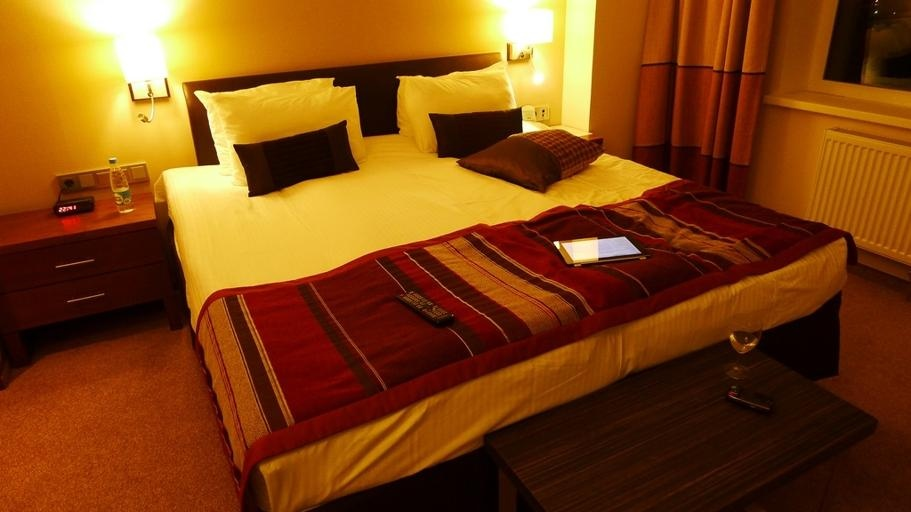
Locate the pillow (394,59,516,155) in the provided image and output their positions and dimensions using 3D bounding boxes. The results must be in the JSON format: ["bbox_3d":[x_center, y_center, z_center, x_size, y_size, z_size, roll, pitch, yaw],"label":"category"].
[{"bbox_3d":[-0.033,-1.138,4.397,0.908,0.604,0.301,-12,3,-12],"label":"pillow"}]

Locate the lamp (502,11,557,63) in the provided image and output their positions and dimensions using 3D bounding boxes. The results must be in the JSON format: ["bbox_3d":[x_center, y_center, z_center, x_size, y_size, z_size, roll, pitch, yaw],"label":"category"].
[{"bbox_3d":[0.616,-1.898,4.913,0.476,0.471,0.396,-16,37,-18],"label":"lamp"}]

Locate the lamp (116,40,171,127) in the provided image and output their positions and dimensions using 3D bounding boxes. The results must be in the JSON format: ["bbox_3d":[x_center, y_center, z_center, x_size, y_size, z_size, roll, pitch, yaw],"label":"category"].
[{"bbox_3d":[-2.259,-1.287,4.118,0.351,0.528,0.358,10,21,44],"label":"lamp"}]

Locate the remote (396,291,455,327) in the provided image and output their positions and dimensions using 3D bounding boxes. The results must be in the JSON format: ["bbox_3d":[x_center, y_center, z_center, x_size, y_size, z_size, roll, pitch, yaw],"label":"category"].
[{"bbox_3d":[-0.151,0.269,2.887,0.302,0.036,0.131,29,40,36],"label":"remote"}]

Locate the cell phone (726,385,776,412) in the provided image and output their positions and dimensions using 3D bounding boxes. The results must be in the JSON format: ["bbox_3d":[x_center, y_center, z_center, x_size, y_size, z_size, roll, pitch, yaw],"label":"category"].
[{"bbox_3d":[1.496,0.728,2.845,0.173,0.044,0.125,22,35,29],"label":"cell phone"}]
